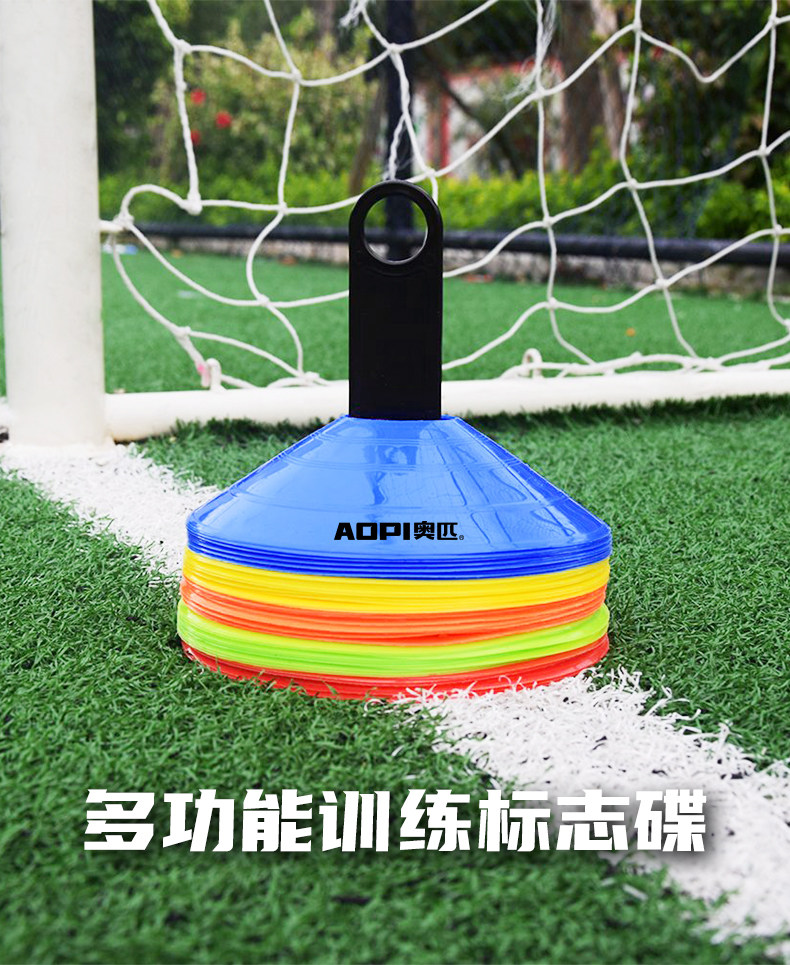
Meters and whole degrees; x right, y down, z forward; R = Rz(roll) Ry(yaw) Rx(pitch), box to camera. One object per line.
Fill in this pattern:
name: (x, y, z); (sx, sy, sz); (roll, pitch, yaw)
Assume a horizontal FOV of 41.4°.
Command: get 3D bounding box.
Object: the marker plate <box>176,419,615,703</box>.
marker plate: (0.001, 0.028, 1.225); (0.379, 0.156, 0.360); (0, 9, -4)
